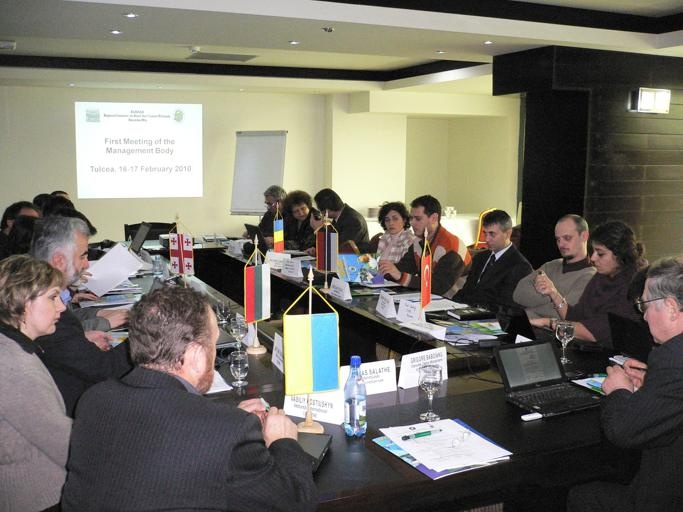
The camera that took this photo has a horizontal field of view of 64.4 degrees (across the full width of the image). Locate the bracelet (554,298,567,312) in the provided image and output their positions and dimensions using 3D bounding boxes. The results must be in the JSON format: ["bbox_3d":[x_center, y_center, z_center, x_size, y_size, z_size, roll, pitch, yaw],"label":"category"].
[{"bbox_3d":[1.288,0.282,3.191,0.060,0.079,0.030,-2,23,2],"label":"bracelet"}]

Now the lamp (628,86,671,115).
[{"bbox_3d":[3.118,-1.581,5.537,0.496,0.251,0.076,-5,14,-16],"label":"lamp"}]

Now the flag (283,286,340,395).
[{"bbox_3d":[-0.109,0.300,1.914,0.210,0.379,0.030,0,-4,-22],"label":"flag"}]

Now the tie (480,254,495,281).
[{"bbox_3d":[1.030,0.058,3.850,0.051,0.232,0.060,12,-20,46],"label":"tie"}]

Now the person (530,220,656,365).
[{"bbox_3d":[1.430,0.162,3.065,0.714,0.617,0.491,-1,12,13],"label":"person"}]

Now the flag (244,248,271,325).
[{"bbox_3d":[-0.388,0.129,2.528,0.028,0.356,0.253,0,2,19],"label":"flag"}]

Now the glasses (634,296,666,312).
[{"bbox_3d":[1.123,0.185,2.010,0.063,0.021,0.061,-9,2,7],"label":"glasses"}]

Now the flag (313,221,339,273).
[{"bbox_3d":[-0.117,-0.094,4.325,0.198,0.353,0.012,7,13,32],"label":"flag"}]

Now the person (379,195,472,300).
[{"bbox_3d":[0.699,-0.038,4.328,0.771,1.055,0.800,0,3,-11],"label":"person"}]

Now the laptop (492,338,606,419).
[{"bbox_3d":[0.818,0.470,2.143,0.387,0.203,0.373,-7,6,-43],"label":"laptop"}]

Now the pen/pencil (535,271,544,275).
[{"bbox_3d":[1.243,0.109,3.416,0.026,0.029,0.031,0,-1,-6],"label":"pen/pencil"}]

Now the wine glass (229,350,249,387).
[{"bbox_3d":[-0.425,0.483,2.280,0.077,0.130,0.080,0,-2,22],"label":"wine glass"}]
